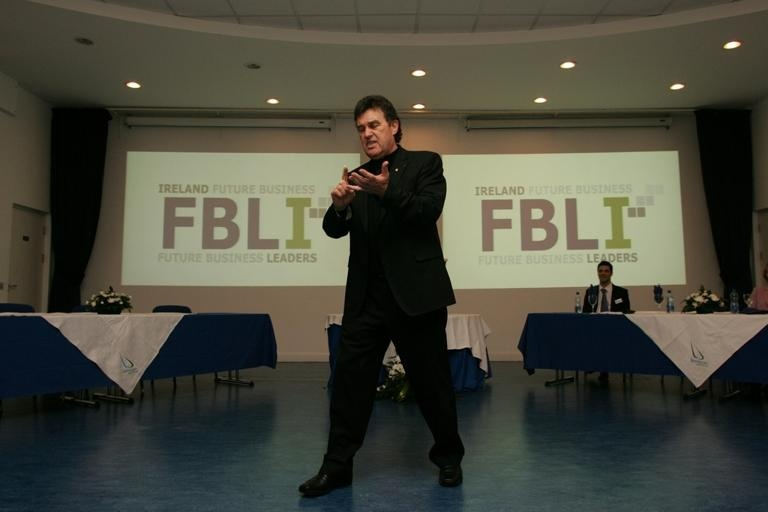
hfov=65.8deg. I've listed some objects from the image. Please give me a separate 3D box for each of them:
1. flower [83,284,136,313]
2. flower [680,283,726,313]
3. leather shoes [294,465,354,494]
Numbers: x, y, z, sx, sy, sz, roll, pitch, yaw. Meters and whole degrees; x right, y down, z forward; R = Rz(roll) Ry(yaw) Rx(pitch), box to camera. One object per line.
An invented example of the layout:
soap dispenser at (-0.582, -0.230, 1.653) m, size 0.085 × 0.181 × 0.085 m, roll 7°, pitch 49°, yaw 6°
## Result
flower at (-3.213, 0.551, 6.974) m, size 0.408 × 0.332 × 0.431 m, roll -3°, pitch -5°, yaw 25°
flower at (3.797, 0.539, 7.023) m, size 0.390 × 0.290 × 0.407 m, roll -4°, pitch -6°, yaw 24°
leather shoes at (-0.452, 1.614, 4.324) m, size 0.457 × 0.202 × 0.169 m, roll 3°, pitch -8°, yaw -31°
